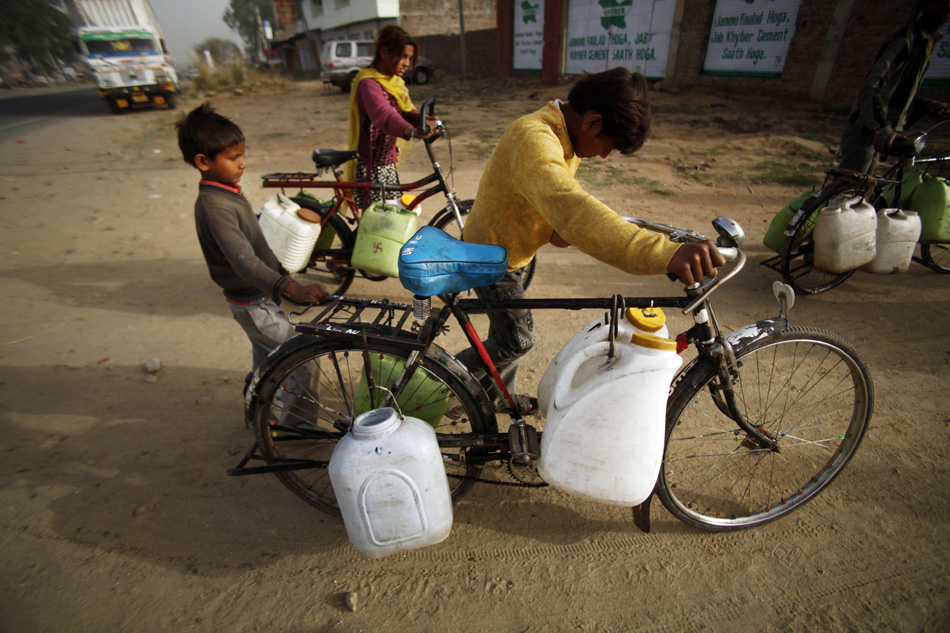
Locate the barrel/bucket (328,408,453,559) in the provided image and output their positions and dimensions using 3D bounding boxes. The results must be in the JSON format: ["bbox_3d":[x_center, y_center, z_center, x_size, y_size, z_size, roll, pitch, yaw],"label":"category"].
[{"bbox_3d":[-0.574,1.146,4.801,0.949,0.996,0.590,-14,20,5],"label":"barrel/bucket"}]

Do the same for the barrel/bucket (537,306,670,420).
[{"bbox_3d":[0.857,0.246,5.059,1.047,0.903,0.576,7,24,4],"label":"barrel/bucket"}]

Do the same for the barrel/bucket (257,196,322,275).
[{"bbox_3d":[-1.802,-0.818,6.782,0.612,0.629,0.381,33,34,17],"label":"barrel/bucket"}]

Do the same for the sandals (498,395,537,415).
[{"bbox_3d":[0.264,0.651,5.255,0.245,0.078,0.232,-4,5,-30],"label":"sandals"}]

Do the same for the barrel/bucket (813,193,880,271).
[{"bbox_3d":[3.437,-0.775,6.485,0.658,0.638,0.383,-9,27,1],"label":"barrel/bucket"}]

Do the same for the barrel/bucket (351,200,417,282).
[{"bbox_3d":[-0.862,-0.784,6.712,0.577,0.593,0.623,13,20,-5],"label":"barrel/bucket"}]
